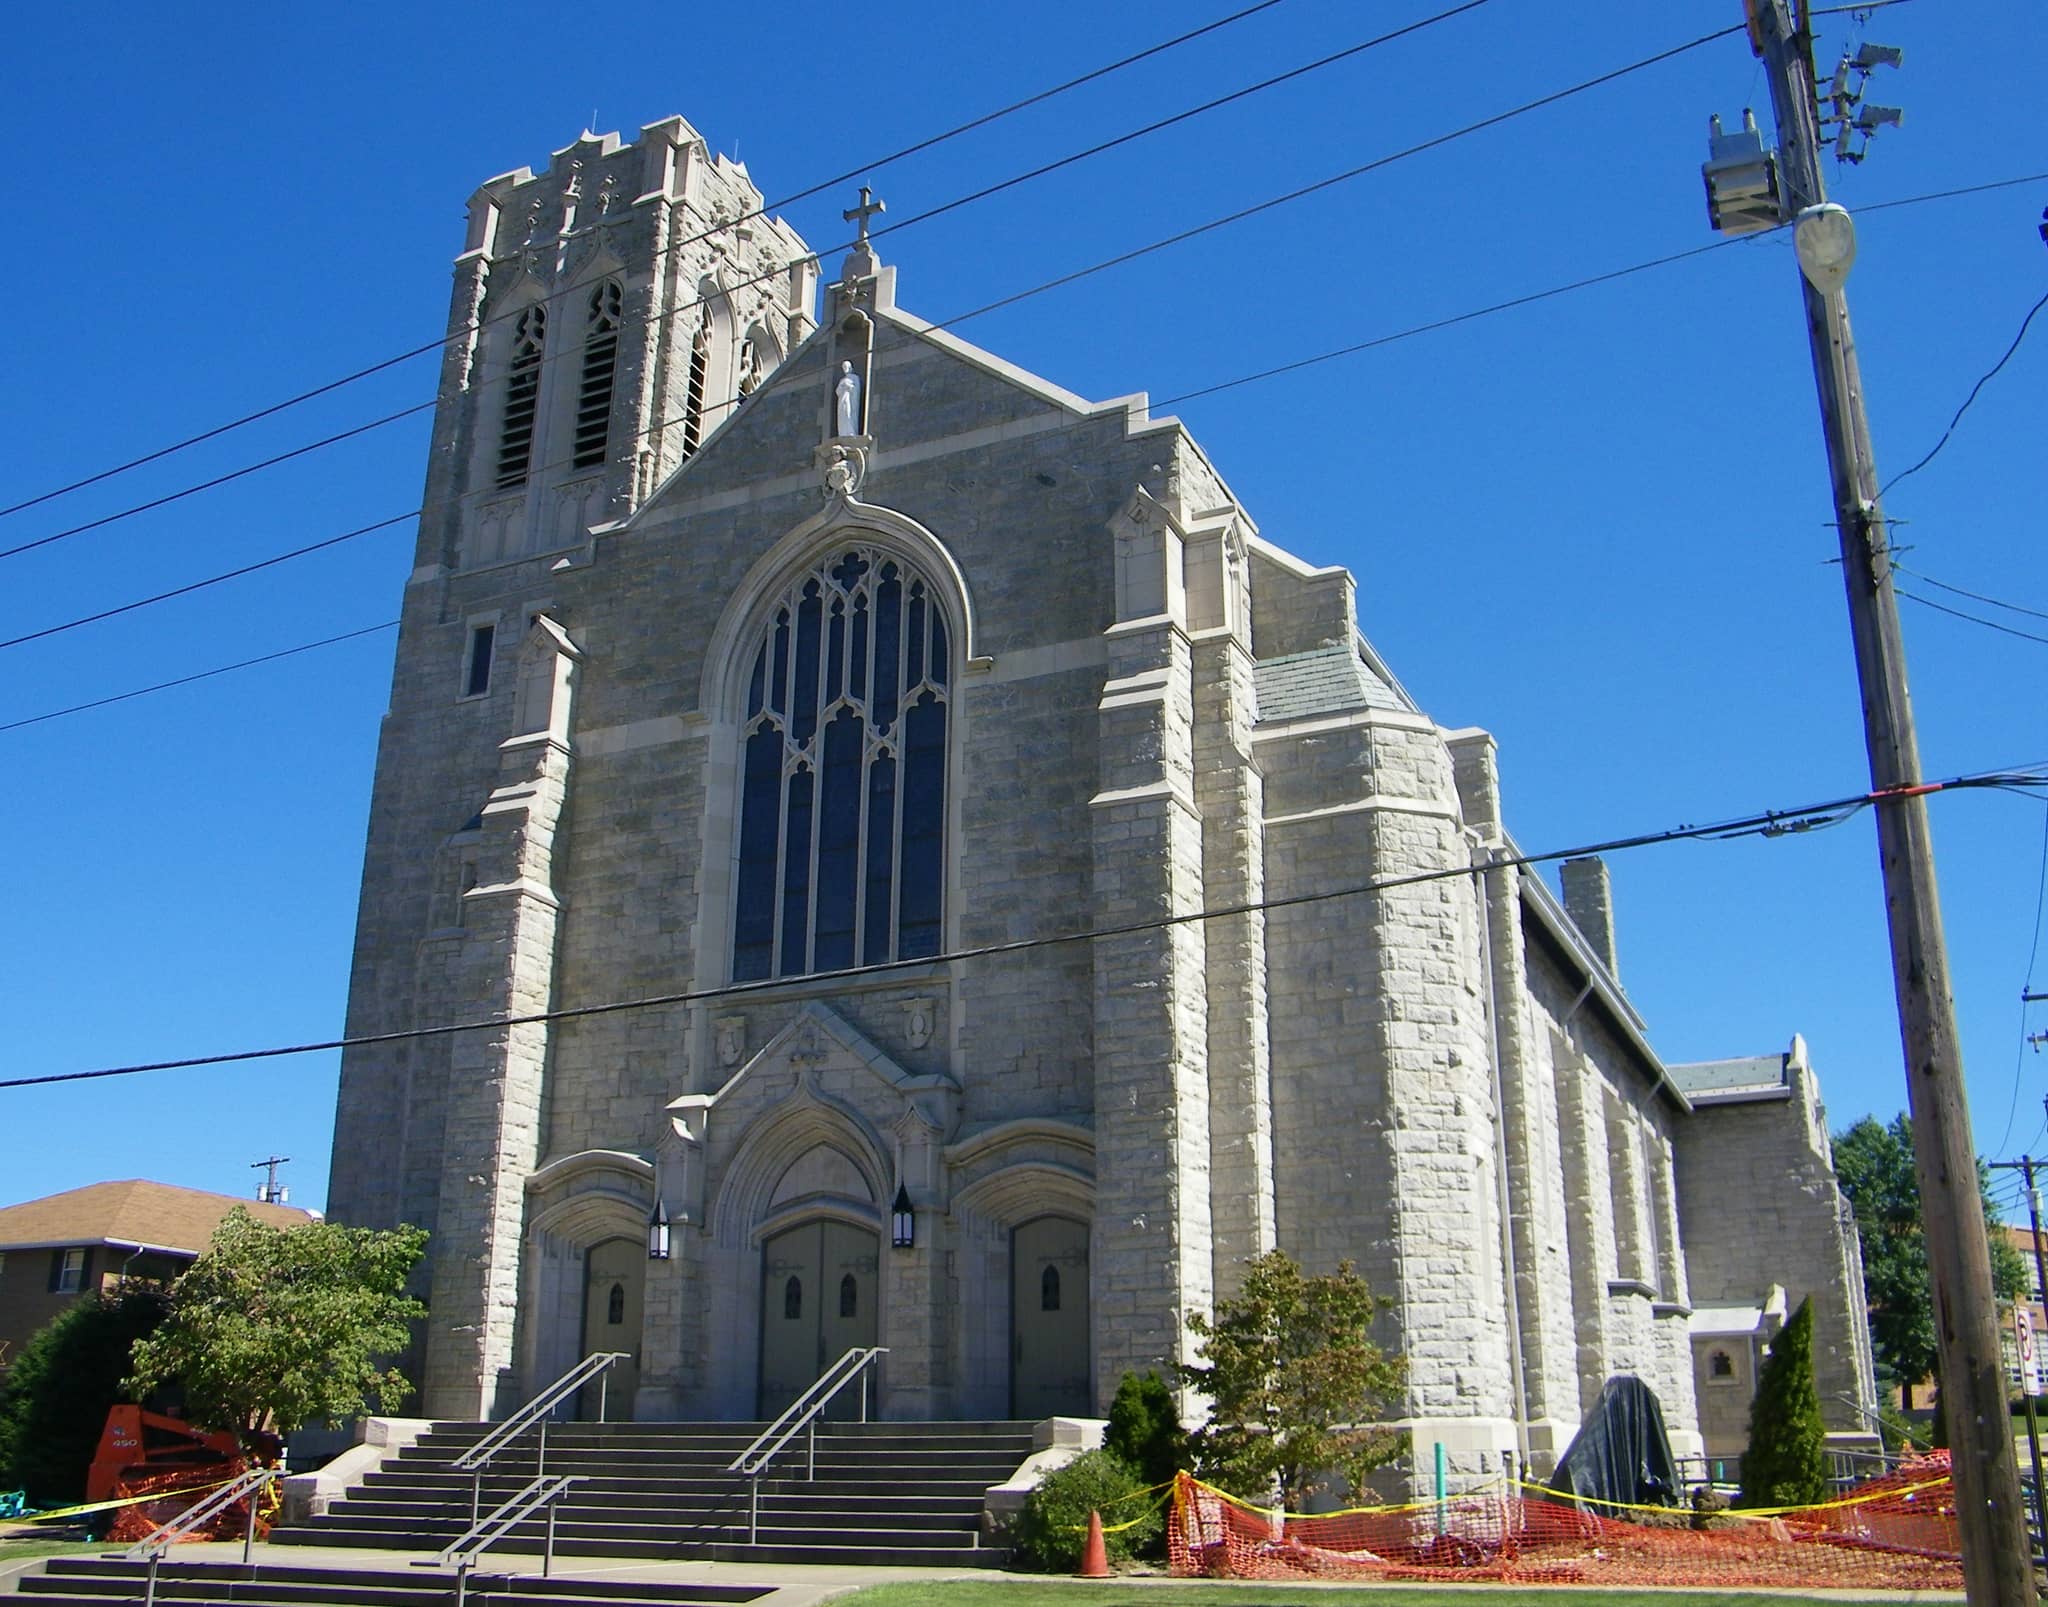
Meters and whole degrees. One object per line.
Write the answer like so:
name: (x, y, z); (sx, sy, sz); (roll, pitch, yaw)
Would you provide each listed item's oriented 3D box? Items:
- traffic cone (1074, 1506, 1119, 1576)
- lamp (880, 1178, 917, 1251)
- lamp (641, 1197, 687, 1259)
traffic cone: (0.781, 8.136, 22.332); (0.594, 0.715, 0.555); (-5, -17, 9)
lamp: (-1.688, 5.738, 28.302); (0.457, 0.894, 0.295); (-5, -24, 8)
lamp: (-5.234, 6.236, 29.815); (0.531, 0.843, 0.383); (10, -26, -26)
